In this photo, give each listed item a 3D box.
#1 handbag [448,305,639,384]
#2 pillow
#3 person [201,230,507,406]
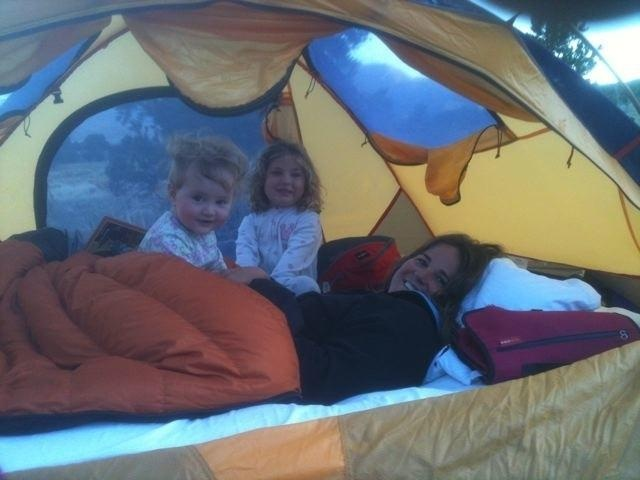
[{"bbox_3d":[0.887,0.367,2.220,0.542,0.200,0.315,-11,3,-7],"label":"handbag"},{"bbox_3d":[0.785,0.289,2.472,0.602,0.239,0.500,-25,33,-1],"label":"pillow"},{"bbox_3d":[0.346,0.336,2.425,0.929,0.416,0.692,-2,8,-13],"label":"person"}]
